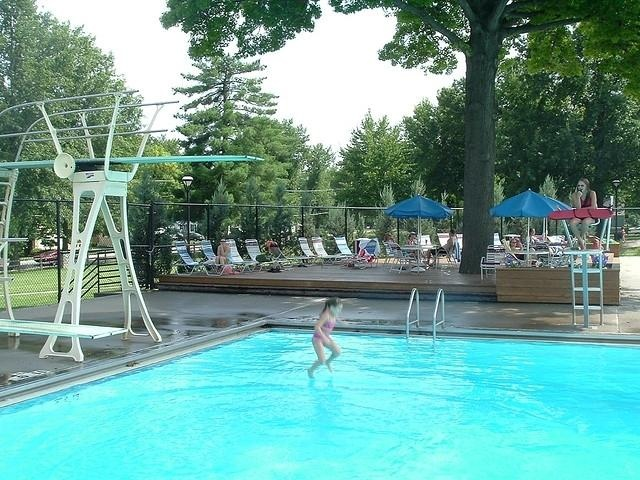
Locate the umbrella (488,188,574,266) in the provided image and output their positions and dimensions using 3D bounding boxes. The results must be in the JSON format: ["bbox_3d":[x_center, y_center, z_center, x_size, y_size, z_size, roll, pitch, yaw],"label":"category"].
[{"bbox_3d":[6.500,-0.530,19.343,2.146,1.879,2.118,2,3,24],"label":"umbrella"}]

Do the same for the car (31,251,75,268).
[{"bbox_3d":[-13.753,1.008,32.227,2.601,0.763,1.643,2,4,28],"label":"car"}]

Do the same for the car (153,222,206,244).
[{"bbox_3d":[-5.769,-0.301,25.928,2.237,0.804,1.323,-1,1,4],"label":"car"}]

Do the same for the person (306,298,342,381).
[{"bbox_3d":[0.079,1.724,11.283,0.592,1.525,0.507,0,12,0],"label":"person"}]

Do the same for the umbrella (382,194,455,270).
[{"bbox_3d":[3.655,-0.372,22.519,2.609,2.383,2.478,-1,5,-7],"label":"umbrella"}]
